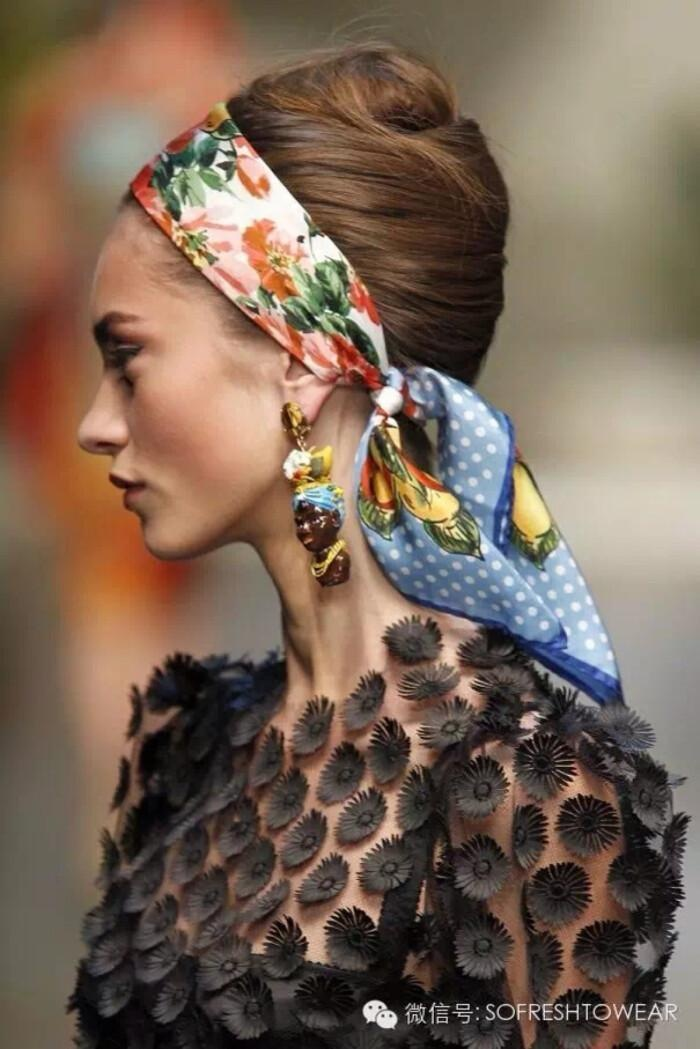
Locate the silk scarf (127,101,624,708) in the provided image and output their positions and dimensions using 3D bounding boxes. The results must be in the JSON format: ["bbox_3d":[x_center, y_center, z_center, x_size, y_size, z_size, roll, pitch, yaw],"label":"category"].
[{"bbox_3d":[-0.005,-0.184,2.433,0.350,1.223,0.321,-47,11,18],"label":"silk scarf"}]
